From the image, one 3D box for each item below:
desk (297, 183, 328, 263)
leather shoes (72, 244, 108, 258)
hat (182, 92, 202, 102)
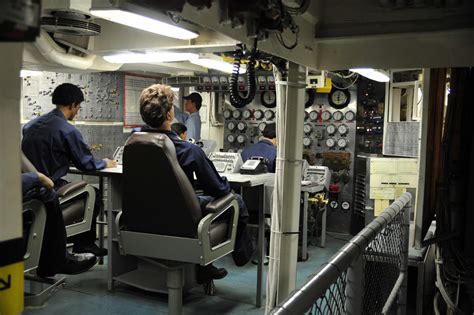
[{"bbox_3d":[1.259,1.028,6.070,0.440,1.228,1.124,4,7,14],"label":"desk"},{"bbox_3d":[-1.930,1.229,4.840,0.448,0.192,0.208,4,-1,-23],"label":"leather shoes"},{"bbox_3d":[-0.931,-1.246,7.661,0.324,0.167,0.209,1,2,-4],"label":"hat"}]
